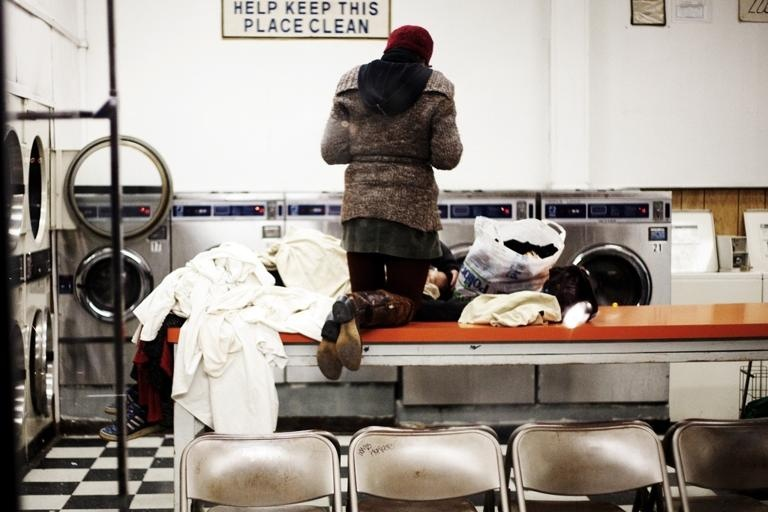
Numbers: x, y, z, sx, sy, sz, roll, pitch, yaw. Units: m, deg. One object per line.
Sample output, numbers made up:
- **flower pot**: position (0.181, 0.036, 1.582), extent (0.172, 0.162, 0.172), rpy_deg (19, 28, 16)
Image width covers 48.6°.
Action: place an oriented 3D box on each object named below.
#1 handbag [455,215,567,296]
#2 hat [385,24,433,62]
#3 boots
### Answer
- **handbag**: position (0.829, -0.043, 5.513), extent (0.504, 0.603, 0.570), rpy_deg (18, 23, 21)
- **hat**: position (0.159, -1.281, 5.154), extent (0.255, 0.202, 0.193), rpy_deg (-4, 10, -29)
- **boots**: position (-0.142, 0.377, 4.964), extent (0.361, 0.329, 0.588), rpy_deg (-37, -1, 41)
